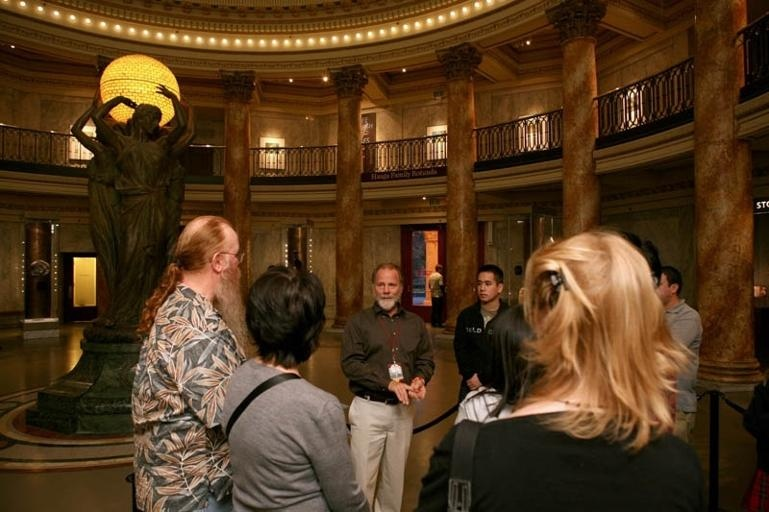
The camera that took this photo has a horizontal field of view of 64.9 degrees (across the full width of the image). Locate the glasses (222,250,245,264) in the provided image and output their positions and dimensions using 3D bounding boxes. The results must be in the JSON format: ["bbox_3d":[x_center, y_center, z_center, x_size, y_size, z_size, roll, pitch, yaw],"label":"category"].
[{"bbox_3d":[-1.182,0.009,4.705,0.193,0.064,0.189,-2,-3,-3],"label":"glasses"}]
